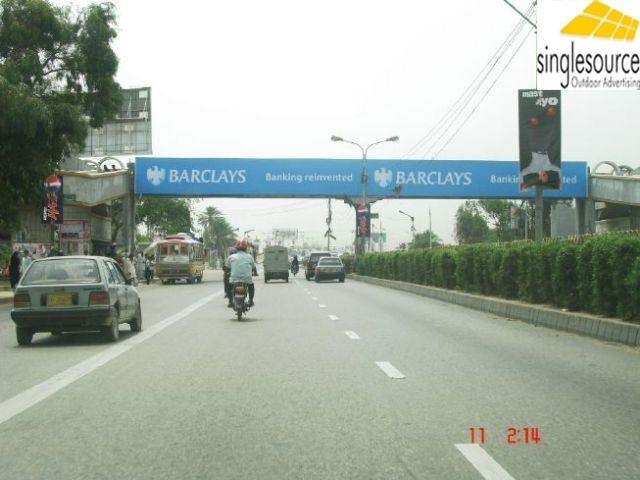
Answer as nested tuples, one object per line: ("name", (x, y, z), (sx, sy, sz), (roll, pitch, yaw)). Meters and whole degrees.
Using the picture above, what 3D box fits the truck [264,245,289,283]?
("truck", (-2.605, 1.338, 47.318), (1.150, 1.480, 2.212), (0, 1, -1))

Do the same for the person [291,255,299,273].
("person", (-2.176, 2.073, 67.904), (0.606, 0.964, 1.576), (0, -18, -2))

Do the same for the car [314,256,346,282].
("car", (0.493, 1.705, 46.973), (1.185, 1.174, 3.033), (0, 2, -2))

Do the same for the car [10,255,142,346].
("car", (-4.690, 1.138, 16.018), (1.291, 1.105, 2.429), (0, 0, -1))

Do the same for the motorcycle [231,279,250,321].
("motorcycle", (-1.940, 1.496, 19.673), (0.308, 0.841, 0.575), (-1, 0, 35))

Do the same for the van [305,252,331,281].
("van", (-0.400, 1.565, 52.387), (1.135, 1.234, 2.047), (0, 3, -2))
